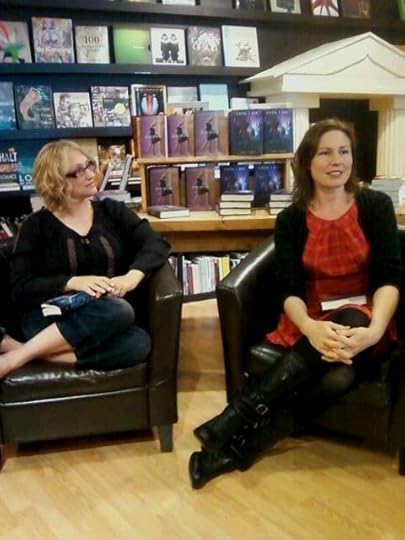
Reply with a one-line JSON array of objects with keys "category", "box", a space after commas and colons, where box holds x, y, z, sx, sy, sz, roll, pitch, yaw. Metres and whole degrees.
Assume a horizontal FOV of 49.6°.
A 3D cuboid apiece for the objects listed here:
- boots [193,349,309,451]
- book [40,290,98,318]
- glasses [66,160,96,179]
[{"category": "boots", "box": [0.162, 0.425, 1.394, 0.486, 0.142, 0.120, -35, 32, -15]}, {"category": "book", "box": [-0.440, 0.096, 1.410, 0.087, 0.035, 0.117, 3, 18, 40]}, {"category": "glasses", "box": [-0.459, -0.374, 1.649, 0.088, 0.026, 0.085, -20, 7, 36]}]
